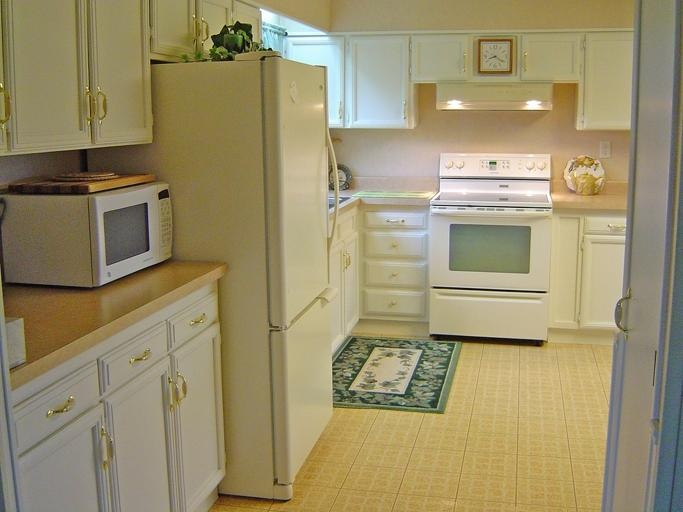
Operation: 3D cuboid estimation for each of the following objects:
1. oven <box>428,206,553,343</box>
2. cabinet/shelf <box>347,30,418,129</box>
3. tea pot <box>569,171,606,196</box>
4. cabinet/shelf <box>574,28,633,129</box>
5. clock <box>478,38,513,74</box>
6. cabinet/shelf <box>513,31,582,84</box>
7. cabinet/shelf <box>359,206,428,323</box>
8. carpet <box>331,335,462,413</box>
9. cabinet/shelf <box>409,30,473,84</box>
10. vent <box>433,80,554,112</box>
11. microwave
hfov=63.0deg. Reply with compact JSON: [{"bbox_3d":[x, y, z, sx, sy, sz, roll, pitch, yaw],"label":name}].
[{"bbox_3d":[1.193,0.093,4.531,0.907,1.033,0.761,2,10,18],"label":"oven"},{"bbox_3d":[0.340,-1.459,4.730,0.613,0.732,0.501,0,18,3],"label":"cabinet/shelf"},{"bbox_3d":[1.949,-0.583,4.414,0.200,0.142,0.176,7,21,31],"label":"tea pot"},{"bbox_3d":[2.003,-1.343,4.376,0.527,0.765,0.400,-4,10,-13],"label":"cabinet/shelf"},{"bbox_3d":[1.210,-1.559,4.348,0.263,0.264,0.028,1,4,13],"label":"clock"},{"bbox_3d":[1.631,-1.534,4.415,0.500,0.416,0.282,0,8,8],"label":"cabinet/shelf"},{"bbox_3d":[0.481,0.103,4.651,0.544,0.991,0.513,2,-6,8],"label":"cabinet/shelf"},{"bbox_3d":[0.362,0.784,3.894,0.906,0.019,1.175,2,14,12],"label":"carpet"},{"bbox_3d":[0.782,-1.573,4.553,0.535,0.384,0.320,-3,8,-5],"label":"cabinet/shelf"},{"bbox_3d":[1.212,-1.273,4.448,0.883,0.218,0.184,3,14,15],"label":"vent"},{"bbox_3d":[-1.013,-0.209,2.208,0.384,0.365,0.560,5,14,12],"label":"microwave"}]
